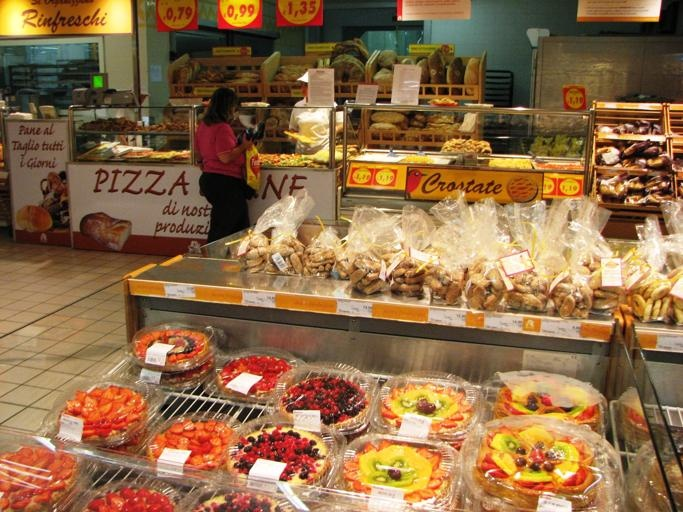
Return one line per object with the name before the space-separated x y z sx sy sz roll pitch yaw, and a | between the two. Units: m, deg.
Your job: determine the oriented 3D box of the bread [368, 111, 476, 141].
bread | 0.893 -1.388 5.432 0.655 0.343 0.294 1 18 8
